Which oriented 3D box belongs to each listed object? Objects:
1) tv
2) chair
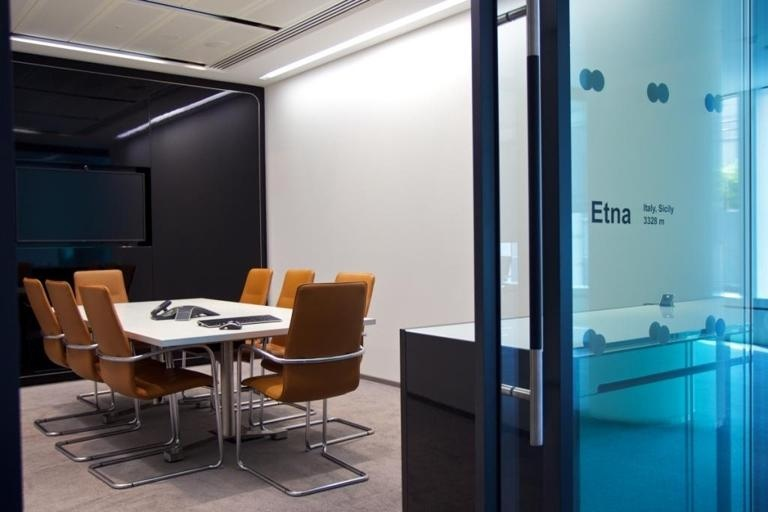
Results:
[{"bbox_3d":[-3.666,-0.629,6.697,1.186,0.730,0.044,-1,-1,-39],"label":"tv"},{"bbox_3d":[-1.475,0.842,4.237,2.798,1.373,1.290,1,3,31],"label":"chair"}]
